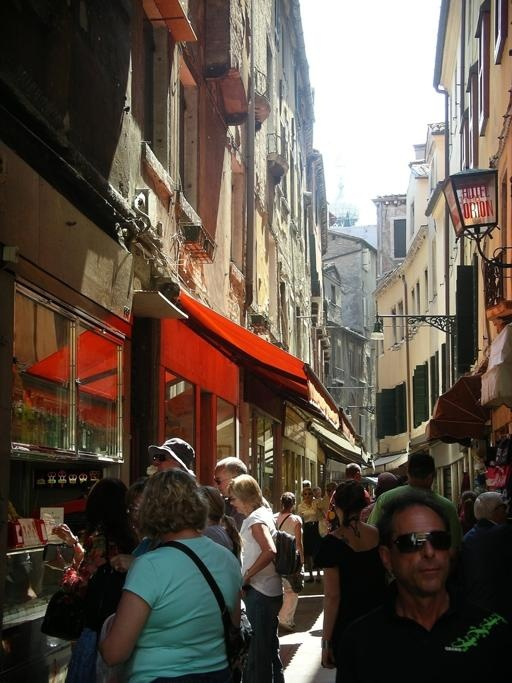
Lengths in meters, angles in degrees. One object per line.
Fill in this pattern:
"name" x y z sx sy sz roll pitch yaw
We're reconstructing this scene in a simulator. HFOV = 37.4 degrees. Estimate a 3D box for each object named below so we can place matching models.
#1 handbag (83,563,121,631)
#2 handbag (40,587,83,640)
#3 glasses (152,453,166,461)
"handbag" -0.637 1.083 3.229 0.158 0.261 0.121 -2 -13 -10
"handbag" -0.826 1.177 3.255 0.168 0.199 0.139 1 -14 -21
"glasses" -0.575 0.691 4.554 0.075 0.040 0.078 7 -13 -31
